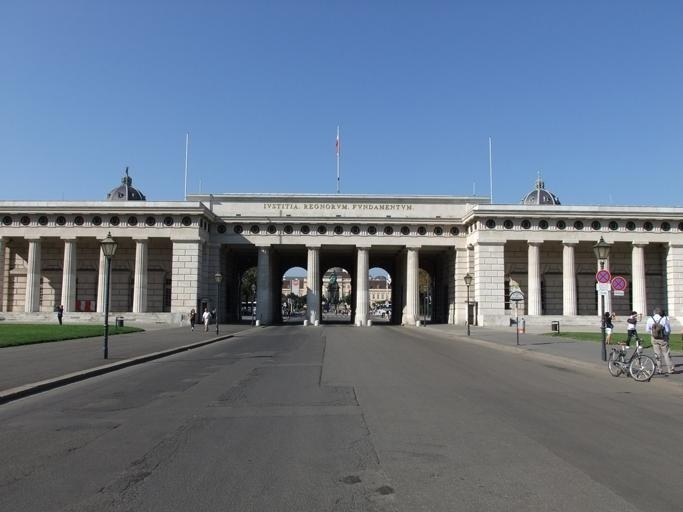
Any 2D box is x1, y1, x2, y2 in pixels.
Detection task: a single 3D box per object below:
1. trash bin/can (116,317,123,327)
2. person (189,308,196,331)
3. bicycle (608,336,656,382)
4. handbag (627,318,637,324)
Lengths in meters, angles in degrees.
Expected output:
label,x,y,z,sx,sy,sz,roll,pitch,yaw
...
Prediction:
label,x,y,z,sx,sy,sz,roll,pitch,yaw
trash bin/can,-15.124,4.523,47.891,0.579,0.799,0.425,-1,-7,-5
person,-9.969,4.304,46.916,0.299,1.337,1.756,2,-7,-15
bicycle,8.809,3.157,21.504,0.832,1.209,1.912,10,-5,-16
handbag,9.915,2.225,24.002,0.319,0.140,0.466,0,-7,4
